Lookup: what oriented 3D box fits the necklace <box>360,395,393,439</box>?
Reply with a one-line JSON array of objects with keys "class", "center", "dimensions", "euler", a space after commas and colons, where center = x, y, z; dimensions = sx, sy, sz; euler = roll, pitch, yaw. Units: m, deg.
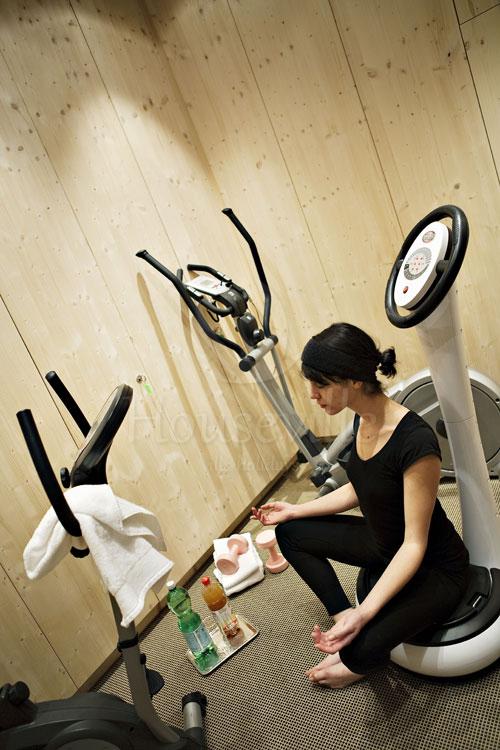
[{"class": "necklace", "center": [0.354, 0.112, 1.497], "dimensions": [0.094, 0.114, 0.118], "euler": [-1, 2, -22]}]

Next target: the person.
[{"class": "person", "center": [0.315, 0.416, 1.601], "dimensions": [0.666, 1.044, 0.717], "euler": [-4, 4, -16]}]
